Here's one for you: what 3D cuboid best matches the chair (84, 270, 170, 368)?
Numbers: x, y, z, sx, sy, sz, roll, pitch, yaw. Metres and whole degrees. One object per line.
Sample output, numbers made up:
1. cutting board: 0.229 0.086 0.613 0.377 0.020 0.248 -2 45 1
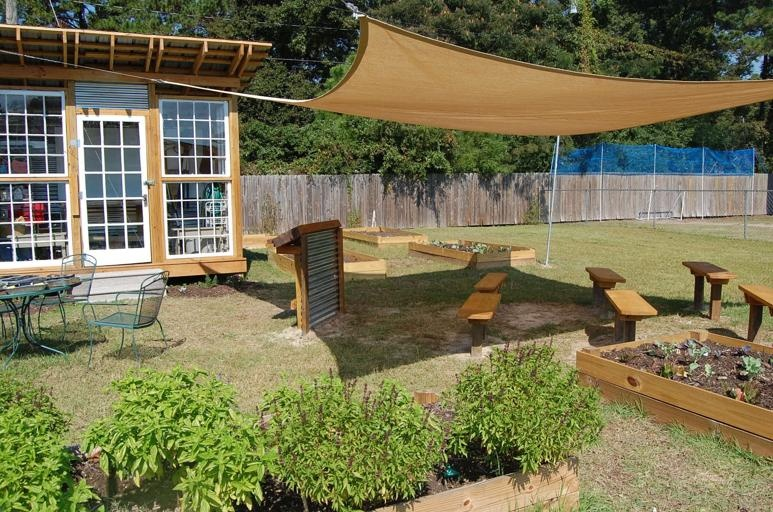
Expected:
1. chair: -3.545 0.881 8.255 1.141 1.633 0.983 2 4 7
